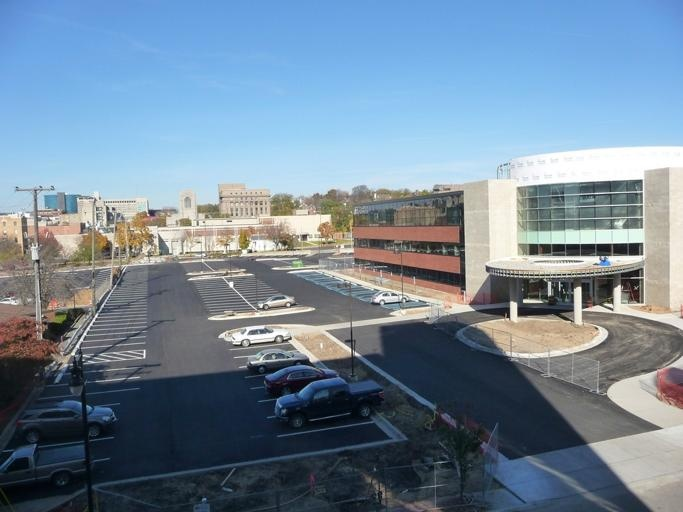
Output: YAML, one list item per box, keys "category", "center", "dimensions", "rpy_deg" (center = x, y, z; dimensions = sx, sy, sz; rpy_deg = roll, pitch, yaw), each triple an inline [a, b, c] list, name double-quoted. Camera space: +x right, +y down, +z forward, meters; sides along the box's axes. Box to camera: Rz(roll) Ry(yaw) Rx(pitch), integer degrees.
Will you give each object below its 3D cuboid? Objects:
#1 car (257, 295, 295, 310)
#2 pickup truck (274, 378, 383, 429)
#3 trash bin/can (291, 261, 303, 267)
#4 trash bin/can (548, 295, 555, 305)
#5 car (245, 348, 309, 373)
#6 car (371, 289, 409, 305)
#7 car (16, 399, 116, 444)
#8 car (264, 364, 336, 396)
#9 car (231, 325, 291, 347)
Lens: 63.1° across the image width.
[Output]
- category: "car"
  center: [-6.988, 5.016, 59.754]
  dimensions: [3.684, 1.032, 1.565]
  rpy_deg: [1, -3, -17]
- category: "pickup truck"
  center: [-0.645, 7.961, 30.532]
  dimensions: [5.641, 1.736, 2.485]
  rpy_deg: [0, -1, -21]
- category: "trash bin/can"
  center: [-7.893, 1.447, 99.161]
  dimensions: [1.319, 0.783, 1.267]
  rpy_deg: [0, -2, -20]
- category: "trash bin/can"
  center: [20.239, 4.248, 53.422]
  dimensions: [0.651, 0.797, 0.837]
  rpy_deg: [-1, 4, 27]
- category: "car"
  center: [-4.339, 6.989, 37.518]
  dimensions: [4.022, 1.239, 1.647]
  rpy_deg: [-5, 7, -15]
- category: "car"
  center: [5.094, 4.494, 59.022]
  dimensions: [3.279, 1.023, 1.581]
  rpy_deg: [-2, 3, -11]
- category: "car"
  center: [-14.533, 8.748, 29.362]
  dimensions: [4.404, 1.474, 1.887]
  rpy_deg: [-4, 5, -14]
- category: "car"
  center: [-2.577, 7.348, 33.460]
  dimensions: [4.066, 1.362, 1.792]
  rpy_deg: [-8, 5, -19]
- category: "car"
  center: [-6.420, 6.352, 44.203]
  dimensions: [4.332, 1.103, 1.794]
  rpy_deg: [-4, 10, -14]
